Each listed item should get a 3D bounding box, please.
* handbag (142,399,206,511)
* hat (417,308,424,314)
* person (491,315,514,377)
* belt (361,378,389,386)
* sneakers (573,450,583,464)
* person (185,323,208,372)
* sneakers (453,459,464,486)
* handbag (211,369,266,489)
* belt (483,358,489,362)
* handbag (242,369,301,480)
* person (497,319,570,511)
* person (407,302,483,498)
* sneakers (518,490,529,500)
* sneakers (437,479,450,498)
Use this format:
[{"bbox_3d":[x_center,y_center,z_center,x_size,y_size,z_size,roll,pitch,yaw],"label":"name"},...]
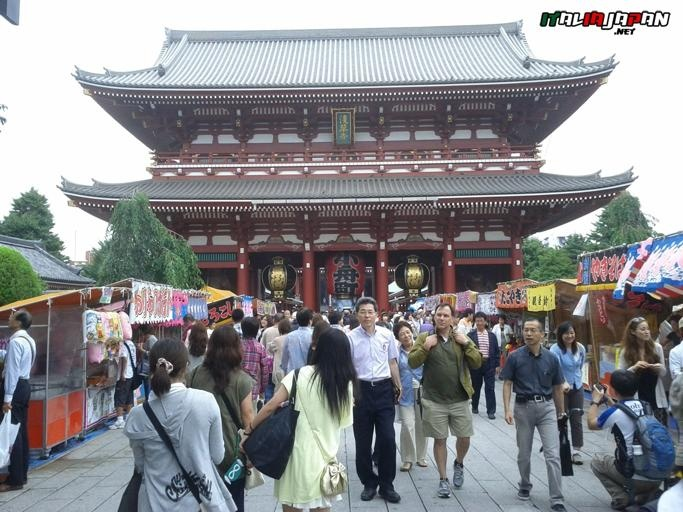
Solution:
[{"bbox_3d":[-1.842,2.201,7.255,0.094,1.304,0.136,-27,13,-19],"label":"handbag"},{"bbox_3d":[2.331,1.637,19.076,0.220,0.162,0.291,1,-1,2],"label":"hat"},{"bbox_3d":[4.094,2.265,16.813,0.549,1.327,0.527,0,2,-16],"label":"person"},{"bbox_3d":[0.491,1.833,9.505,0.438,0.102,0.077,2,-10,-19],"label":"belt"},{"bbox_3d":[3.831,3.258,10.555,0.095,0.124,0.279,-1,-11,3],"label":"sneakers"},{"bbox_3d":[-2.062,1.287,9.476,0.255,0.808,0.232,-6,22,-24],"label":"person"},{"bbox_3d":[1.744,3.237,9.803,0.131,0.391,0.157,-2,-13,-2],"label":"sneakers"},{"bbox_3d":[-1.352,2.167,8.285,0.744,1.317,0.324,16,-16,-35],"label":"handbag"},{"bbox_3d":[3.050,2.173,13.703,0.150,0.110,0.045,5,-11,-31],"label":"belt"},{"bbox_3d":[-0.813,1.971,7.654,0.630,1.263,0.211,1,-9,-9],"label":"handbag"},{"bbox_3d":[2.776,2.228,9.336,0.865,2.640,0.586,-4,-10,15],"label":"person"},{"bbox_3d":[1.523,2.109,9.665,1.033,2.767,0.682,1,-10,-11],"label":"person"},{"bbox_3d":[2.619,3.400,9.332,0.182,0.148,0.113,-1,-10,-2],"label":"sneakers"},{"bbox_3d":[1.500,3.358,9.483,0.184,0.256,0.287,-3,-10,9],"label":"sneakers"}]
